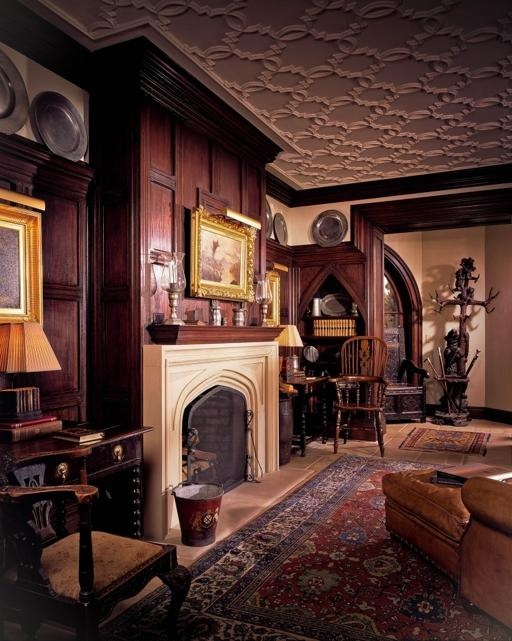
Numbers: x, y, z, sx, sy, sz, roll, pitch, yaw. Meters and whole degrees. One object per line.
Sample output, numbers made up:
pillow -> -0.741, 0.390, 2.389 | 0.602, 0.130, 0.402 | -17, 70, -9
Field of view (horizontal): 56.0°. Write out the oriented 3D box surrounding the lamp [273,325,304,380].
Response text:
lamp -> 0.385, 0.343, 5.403 | 0.327, 0.545, 0.308 | 3, -10, -29

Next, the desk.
desk -> -0.830, 0.717, 2.200 | 0.416, 0.510, 0.814 | -2, -4, 19

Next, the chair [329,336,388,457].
chair -> 1.220, 0.846, 5.631 | 0.642, 1.271, 0.554 | 0, 1, 12

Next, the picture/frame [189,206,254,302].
picture/frame -> -0.294, -0.535, 3.891 | 0.080, 0.633, 0.893 | -1, -3, 25

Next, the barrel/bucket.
barrel/bucket -> -0.336, 1.119, 2.822 | 0.346, 0.293, 0.316 | 1, -3, 0

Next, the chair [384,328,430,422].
chair -> 2.406, 0.828, 7.695 | 0.608, 1.477, 1.233 | -2, -4, 17

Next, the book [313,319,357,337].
book -> 1.037, 0.095, 6.383 | 0.539, 0.251, 0.142 | -1, -4, 12

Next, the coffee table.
coffee table -> 0.738, 1.035, 5.911 | 0.345, 0.684, 0.754 | -1, 3, 11
